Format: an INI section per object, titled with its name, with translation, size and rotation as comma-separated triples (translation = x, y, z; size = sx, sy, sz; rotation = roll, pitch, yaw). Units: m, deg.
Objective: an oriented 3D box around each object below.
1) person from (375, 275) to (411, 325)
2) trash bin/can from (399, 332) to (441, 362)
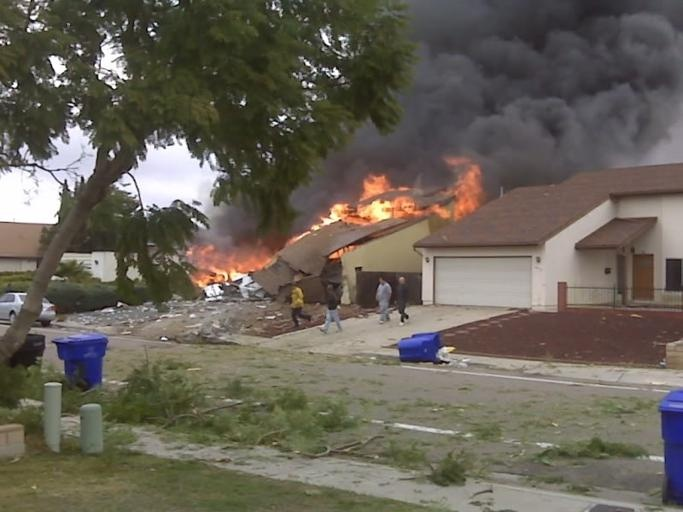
[person]
translation = 2.008, 1.824, 27.542
size = 1.497, 2.079, 0.653
rotation = -3, -7, 25
[trash bin/can]
translation = 2.191, 2.465, 19.444
size = 0.835, 0.587, 0.881
rotation = -2, -1, 24
